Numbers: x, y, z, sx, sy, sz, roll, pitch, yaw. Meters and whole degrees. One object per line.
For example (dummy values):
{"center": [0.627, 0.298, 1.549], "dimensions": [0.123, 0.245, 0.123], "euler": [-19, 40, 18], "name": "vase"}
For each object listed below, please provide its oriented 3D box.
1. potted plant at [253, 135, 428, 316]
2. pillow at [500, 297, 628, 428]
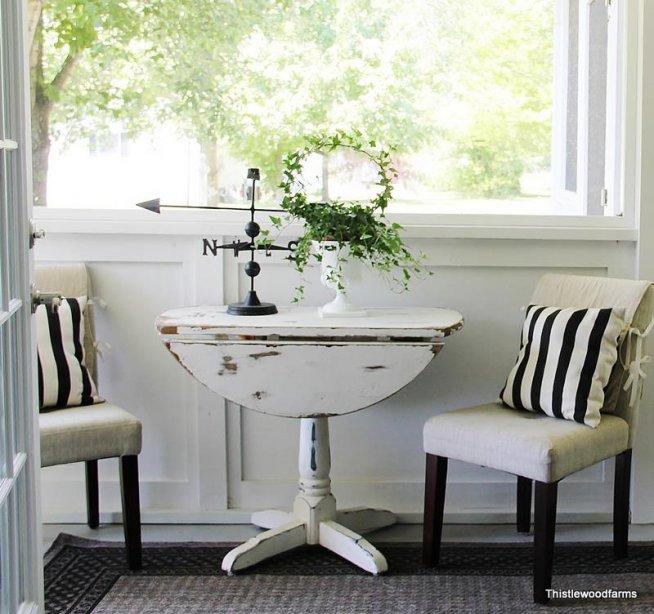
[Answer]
{"center": [0.066, -0.322, 2.717], "dimensions": [0.582, 0.628, 0.619], "euler": [1, 11, 6], "name": "potted plant"}
{"center": [0.729, 0.168, 2.429], "dimensions": [0.351, 0.357, 0.183], "euler": [9, 15, 39], "name": "pillow"}
